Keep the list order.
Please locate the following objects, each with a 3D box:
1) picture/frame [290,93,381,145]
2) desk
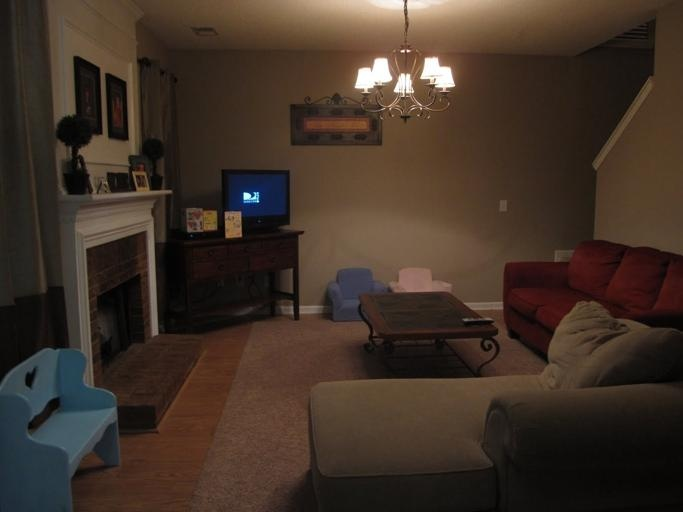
[{"bbox_3d":[-0.068,-1.508,5.959,1.005,0.626,0.047,-6,30,-23],"label":"picture/frame"},{"bbox_3d":[-1.112,0.308,5.688,0.513,1.140,1.421,8,11,43],"label":"desk"}]
